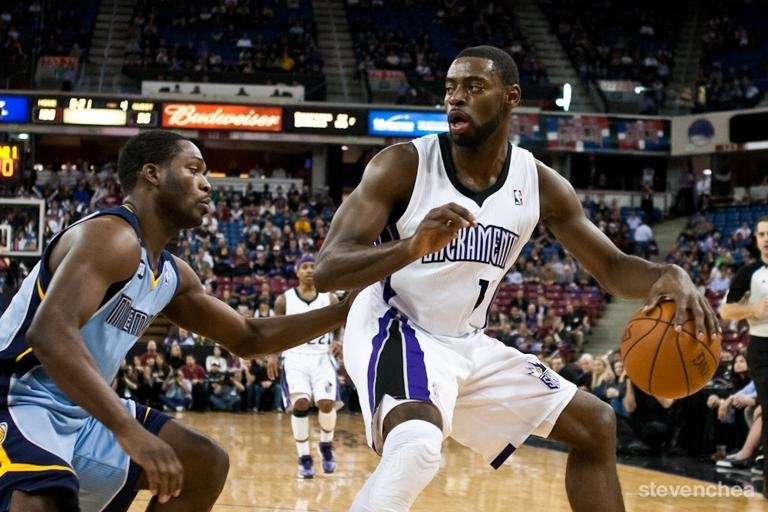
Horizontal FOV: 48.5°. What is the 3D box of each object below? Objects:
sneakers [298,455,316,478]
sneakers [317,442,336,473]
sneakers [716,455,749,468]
[{"bbox_3d":[-0.792,2.087,8.543,0.150,0.206,0.177,0,5,-7],"label":"sneakers"},{"bbox_3d":[-0.594,2.053,8.779,0.165,0.327,0.198,0,5,-5],"label":"sneakers"},{"bbox_3d":[3.705,2.187,9.107,0.297,0.121,0.111,2,-19,16],"label":"sneakers"}]
